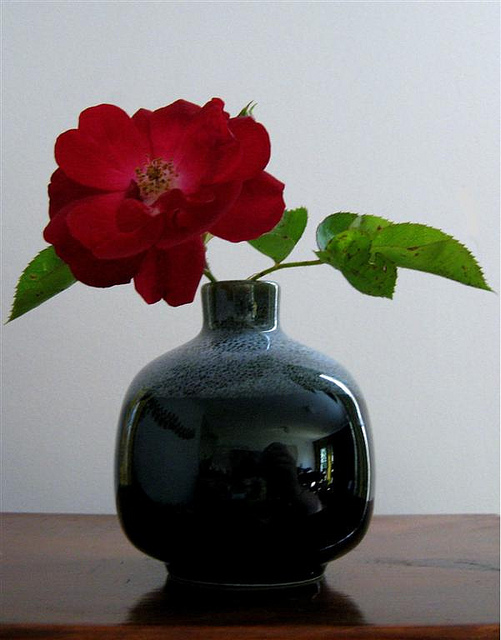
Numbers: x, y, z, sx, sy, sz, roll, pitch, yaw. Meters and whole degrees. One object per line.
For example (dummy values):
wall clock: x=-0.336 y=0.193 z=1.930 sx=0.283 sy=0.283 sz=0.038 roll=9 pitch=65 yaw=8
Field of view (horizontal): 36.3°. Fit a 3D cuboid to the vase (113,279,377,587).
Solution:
vase: x=-0.021 y=0.057 z=0.526 sx=0.205 sy=0.167 sz=0.167 roll=9 pitch=10 yaw=7
